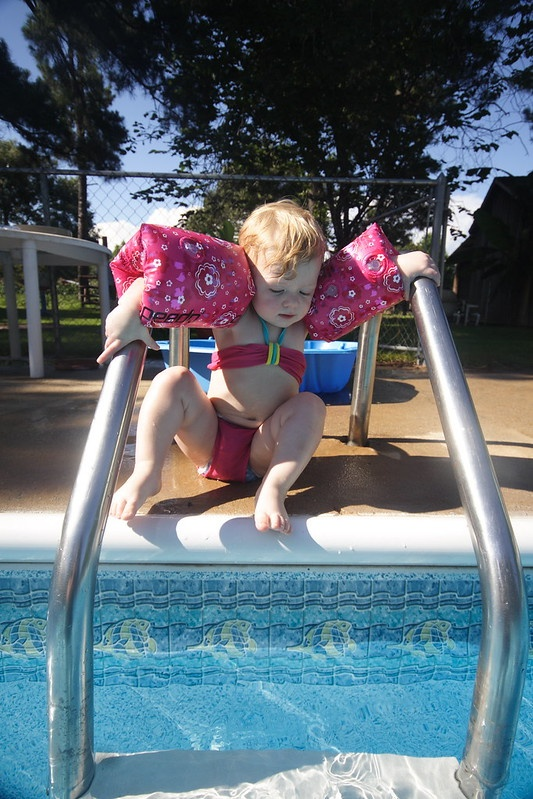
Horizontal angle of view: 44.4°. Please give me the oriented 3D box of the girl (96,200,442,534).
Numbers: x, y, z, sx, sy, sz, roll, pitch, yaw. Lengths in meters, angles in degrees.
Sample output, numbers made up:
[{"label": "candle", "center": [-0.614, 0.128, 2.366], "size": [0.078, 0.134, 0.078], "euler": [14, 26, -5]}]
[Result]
[{"label": "girl", "center": [-0.048, -0.021, 1.528], "size": [0.777, 0.835, 0.719], "euler": [6, 17, -1]}]

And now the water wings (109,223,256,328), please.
[{"label": "water wings", "center": [-0.162, -0.240, 1.309], "size": [0.290, 0.207, 0.243], "euler": [-2, 14, -15]}]

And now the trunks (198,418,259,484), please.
[{"label": "trunks", "center": [-0.087, 0.117, 1.637], "size": [0.122, 0.136, 0.075], "euler": [6, 18, -1]}]

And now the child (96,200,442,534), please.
[{"label": "child", "center": [-0.030, -0.110, 1.479], "size": [0.613, 0.741, 0.519], "euler": [3, 4, -34]}]
